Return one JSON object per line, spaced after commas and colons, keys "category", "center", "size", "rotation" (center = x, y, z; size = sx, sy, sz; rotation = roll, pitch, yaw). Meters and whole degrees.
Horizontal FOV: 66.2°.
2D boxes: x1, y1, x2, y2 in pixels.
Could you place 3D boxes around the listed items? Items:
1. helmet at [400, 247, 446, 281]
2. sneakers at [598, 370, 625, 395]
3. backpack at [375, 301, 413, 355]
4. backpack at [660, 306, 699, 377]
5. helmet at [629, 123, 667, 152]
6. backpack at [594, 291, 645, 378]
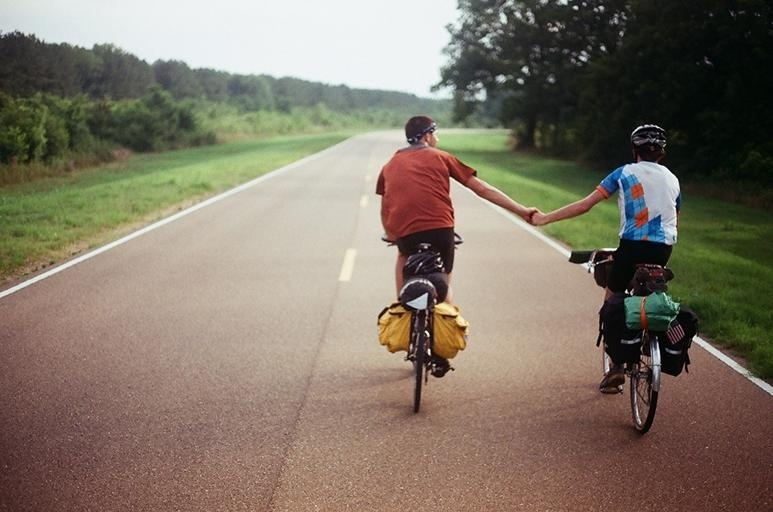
{"category": "helmet", "center": [0.428, 0.084, 6.930], "size": [0.431, 0.424, 0.352], "rotation": [9, 9, 11]}
{"category": "sneakers", "center": [2.764, 1.542, 7.216], "size": [0.307, 0.235, 0.128], "rotation": [-27, -8, 33]}
{"category": "backpack", "center": [0.126, 0.817, 7.351], "size": [0.338, 0.647, 0.501], "rotation": [2, 9, 20]}
{"category": "backpack", "center": [3.414, 0.972, 6.698], "size": [0.373, 0.826, 0.696], "rotation": [4, -6, -2]}
{"category": "helmet", "center": [3.092, -1.421, 7.086], "size": [0.352, 0.194, 0.517], "rotation": [6, 19, 11]}
{"category": "backpack", "center": [2.694, 0.858, 6.819], "size": [0.472, 0.815, 0.261], "rotation": [8, 15, 25]}
